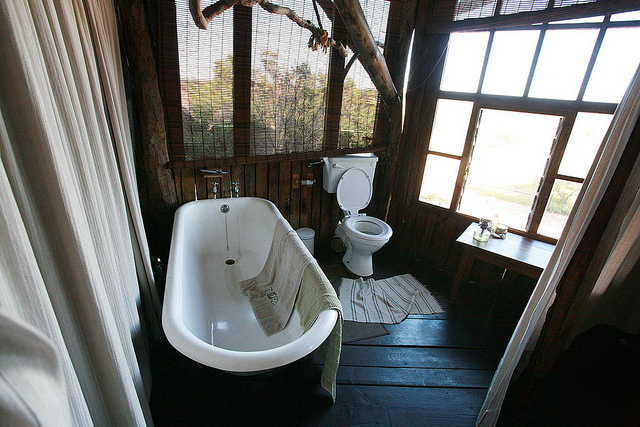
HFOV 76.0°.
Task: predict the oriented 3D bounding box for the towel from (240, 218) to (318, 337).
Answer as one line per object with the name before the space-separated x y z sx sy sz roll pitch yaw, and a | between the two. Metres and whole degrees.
towel | -0.363 0.426 3.089 0.492 0.495 0.942 -12 22 -18

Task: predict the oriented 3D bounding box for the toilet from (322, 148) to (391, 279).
toilet | 0.398 -0.026 3.844 0.661 1.083 0.806 -4 23 -15

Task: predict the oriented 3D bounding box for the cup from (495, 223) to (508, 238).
cup | 1.492 0.137 3.366 0.103 0.114 0.104 -7 32 5

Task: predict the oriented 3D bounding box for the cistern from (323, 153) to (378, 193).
cistern | 0.208 -0.380 3.927 0.393 0.273 0.243 -3 14 -38

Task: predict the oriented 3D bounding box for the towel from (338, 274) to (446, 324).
towel | 0.582 0.733 3.495 0.845 0.070 0.582 -1 22 -9

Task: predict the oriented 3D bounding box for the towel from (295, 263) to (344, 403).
towel | -0.027 0.683 2.623 0.147 0.530 0.846 -1 19 -14
